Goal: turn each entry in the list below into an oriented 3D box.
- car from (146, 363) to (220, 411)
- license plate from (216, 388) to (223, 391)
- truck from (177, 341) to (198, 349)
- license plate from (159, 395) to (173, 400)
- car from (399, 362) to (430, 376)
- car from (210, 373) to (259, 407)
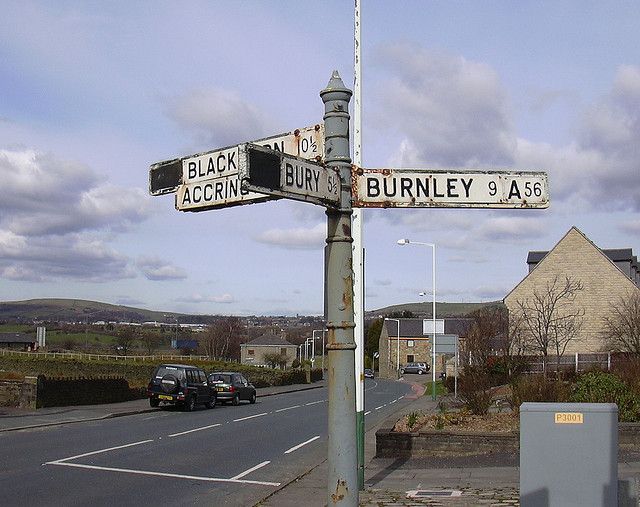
[{"bbox_3d":[-5.602,5.480,30.572,1.507,1.481,2.719,-2,-5,19],"label":"car"},{"bbox_3d":[-4.805,6.467,34.926,0.268,0.119,0.113,3,-10,-15],"label":"license plate"},{"bbox_3d":[-26.773,18.373,147.761,4.067,1.756,5.054,3,-12,-14],"label":"truck"},{"bbox_3d":[-6.217,5.767,29.452,0.640,0.177,0.102,-6,-11,27],"label":"license plate"},{"bbox_3d":[11.554,14.042,89.209,2.823,1.353,1.857,0,-11,0],"label":"car"},{"bbox_3d":[-4.269,6.610,36.106,1.087,1.155,2.376,-3,-7,19],"label":"car"}]
